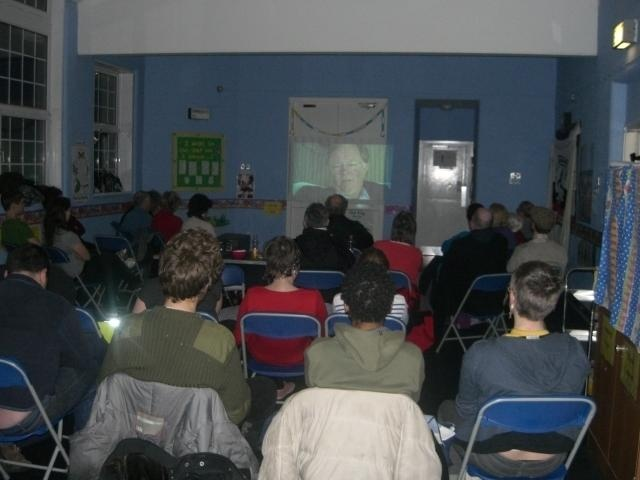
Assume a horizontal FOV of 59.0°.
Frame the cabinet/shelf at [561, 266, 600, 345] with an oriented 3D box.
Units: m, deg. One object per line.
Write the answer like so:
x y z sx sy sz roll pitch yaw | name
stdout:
2.253 0.573 4.900 0.216 0.503 0.655 2 3 14 | cabinet/shelf

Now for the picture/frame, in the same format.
-2.005 -1.354 9.435 1.055 1.323 0.142 1 0 0 | picture/frame

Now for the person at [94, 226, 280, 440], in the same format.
-0.660 0.409 2.859 0.778 1.015 0.668 14 24 3 | person

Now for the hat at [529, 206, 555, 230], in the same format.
2.032 -0.216 5.177 0.151 0.105 0.236 2 52 7 | hat

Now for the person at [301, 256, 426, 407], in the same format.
0.208 0.538 2.653 0.514 0.877 0.441 4 18 3 | person
